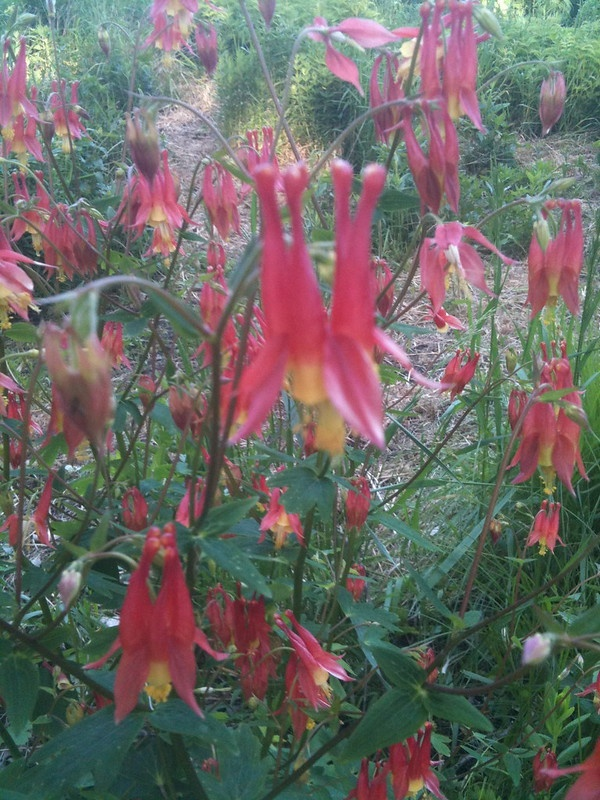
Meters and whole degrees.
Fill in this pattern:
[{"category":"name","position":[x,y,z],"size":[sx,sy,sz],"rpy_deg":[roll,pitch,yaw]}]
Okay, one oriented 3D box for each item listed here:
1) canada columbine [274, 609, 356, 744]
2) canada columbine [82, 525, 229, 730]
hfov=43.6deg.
[{"category":"canada columbine","position":[-0.013,0.649,1.842],"size":[0.153,0.206,0.158],"rpy_deg":[-25,-3,27]},{"category":"canada columbine","position":[-0.253,0.401,1.316],"size":[0.149,0.335,0.164],"rpy_deg":[1,28,0]}]
